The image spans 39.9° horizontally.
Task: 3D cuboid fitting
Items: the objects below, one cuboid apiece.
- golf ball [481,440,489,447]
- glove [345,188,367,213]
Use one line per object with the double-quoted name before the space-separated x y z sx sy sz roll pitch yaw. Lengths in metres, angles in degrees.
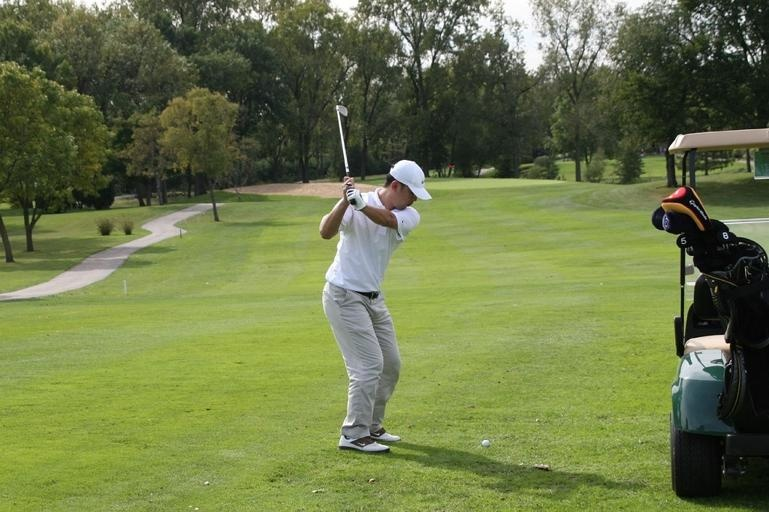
"golf ball" 2.818 5.235 29.444 0.211 0.121 0.185 -1 -5 -21
"glove" -0.799 -1.528 29.369 0.425 0.689 0.284 -45 4 26
